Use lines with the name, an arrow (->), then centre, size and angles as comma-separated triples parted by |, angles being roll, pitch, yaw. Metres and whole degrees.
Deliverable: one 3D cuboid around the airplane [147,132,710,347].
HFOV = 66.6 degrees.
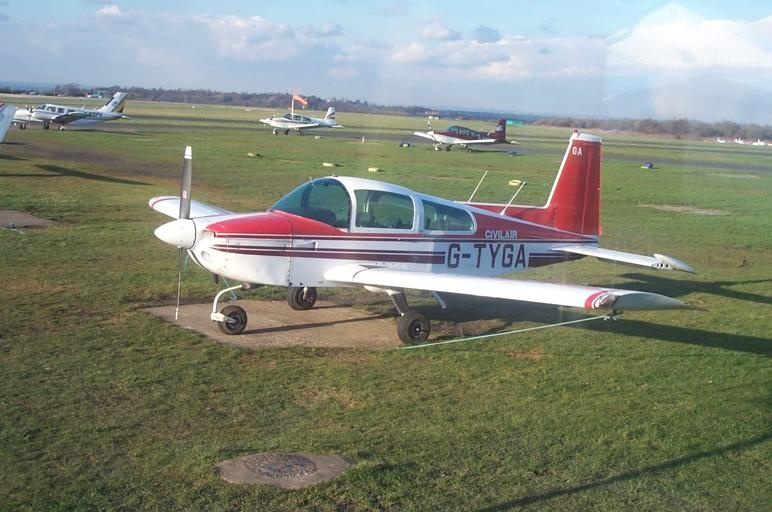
airplane -> 1.178, -0.794, 10.392 | 9.743, 3.446, 5.864 | 0, 10, -16
